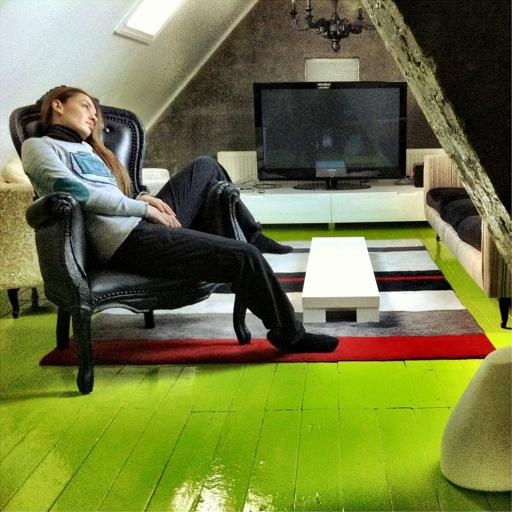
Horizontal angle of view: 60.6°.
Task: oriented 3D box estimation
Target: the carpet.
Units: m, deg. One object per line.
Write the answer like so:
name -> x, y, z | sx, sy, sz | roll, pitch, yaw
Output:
carpet -> 0.073, 0.167, 2.824 | 2.316, 0.011, 2.371 | -3, 17, 6

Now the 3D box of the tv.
tv -> 0.803, -1.321, 4.788 | 1.918, 1.101, 0.478 | -7, 14, -19

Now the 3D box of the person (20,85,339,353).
person -> -0.326, -0.168, 1.991 | 1.420, 0.998, 0.481 | 6, 3, -16

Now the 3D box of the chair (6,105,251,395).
chair -> -0.645, -0.157, 2.033 | 0.904, 1.032, 0.899 | 17, 19, 39
